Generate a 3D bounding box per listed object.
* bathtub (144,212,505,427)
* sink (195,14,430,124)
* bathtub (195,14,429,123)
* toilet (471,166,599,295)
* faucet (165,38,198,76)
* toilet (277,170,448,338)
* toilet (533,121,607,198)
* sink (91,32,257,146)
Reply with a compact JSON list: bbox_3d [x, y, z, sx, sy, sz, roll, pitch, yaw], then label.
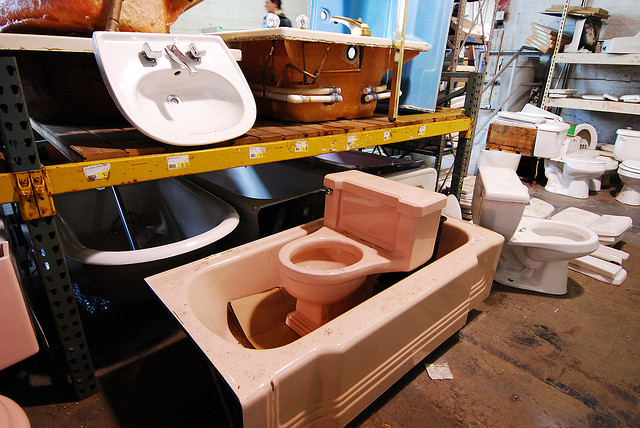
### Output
[{"bbox_3d":[0.070,0.456,2.132,1.488,0.564,0.929,-20,31,-40],"label":"bathtub"},{"bbox_3d":[-0.057,-0.998,2.695,0.905,0.649,1.326,19,26,39],"label":"sink"},{"bbox_3d":[-0.025,-0.959,2.699,0.899,0.530,1.271,21,26,37],"label":"bathtub"},{"bbox_3d":[1.376,0.119,2.711,0.752,0.692,0.381,8,25,16],"label":"toilet"},{"bbox_3d":[-0.647,-0.737,1.929,0.141,0.167,0.088,0,24,-2],"label":"faucet"},{"bbox_3d":[0.172,0.239,2.167,0.692,0.738,0.786,20,28,37],"label":"toilet"},{"bbox_3d":[2.667,-0.578,4.348,0.426,0.719,0.671,-19,25,-41],"label":"toilet"},{"bbox_3d":[-0.652,-0.753,1.888,0.639,0.298,0.612,-22,40,-28],"label":"sink"}]
